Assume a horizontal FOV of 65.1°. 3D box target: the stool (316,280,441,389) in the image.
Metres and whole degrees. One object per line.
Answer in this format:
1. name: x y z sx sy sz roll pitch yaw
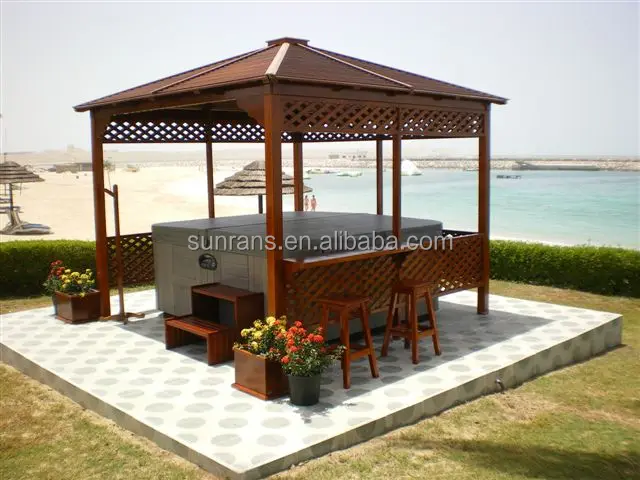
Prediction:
1. stool: 0.641 1.072 5.653 1.286 0.629 0.432 -4 5 -44

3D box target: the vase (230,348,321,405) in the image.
1. vase: -0.392 1.253 4.897 0.652 0.260 0.634 3 3 39

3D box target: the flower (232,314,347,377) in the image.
1. flower: -0.244 0.997 4.820 1.084 0.495 0.726 7 4 36

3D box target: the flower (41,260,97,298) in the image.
1. flower: -4.210 0.649 8.300 0.879 0.498 0.852 5 4 28

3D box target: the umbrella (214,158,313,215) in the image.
1. umbrella: -1.033 -1.004 8.775 1.409 0.611 1.403 8 12 44
